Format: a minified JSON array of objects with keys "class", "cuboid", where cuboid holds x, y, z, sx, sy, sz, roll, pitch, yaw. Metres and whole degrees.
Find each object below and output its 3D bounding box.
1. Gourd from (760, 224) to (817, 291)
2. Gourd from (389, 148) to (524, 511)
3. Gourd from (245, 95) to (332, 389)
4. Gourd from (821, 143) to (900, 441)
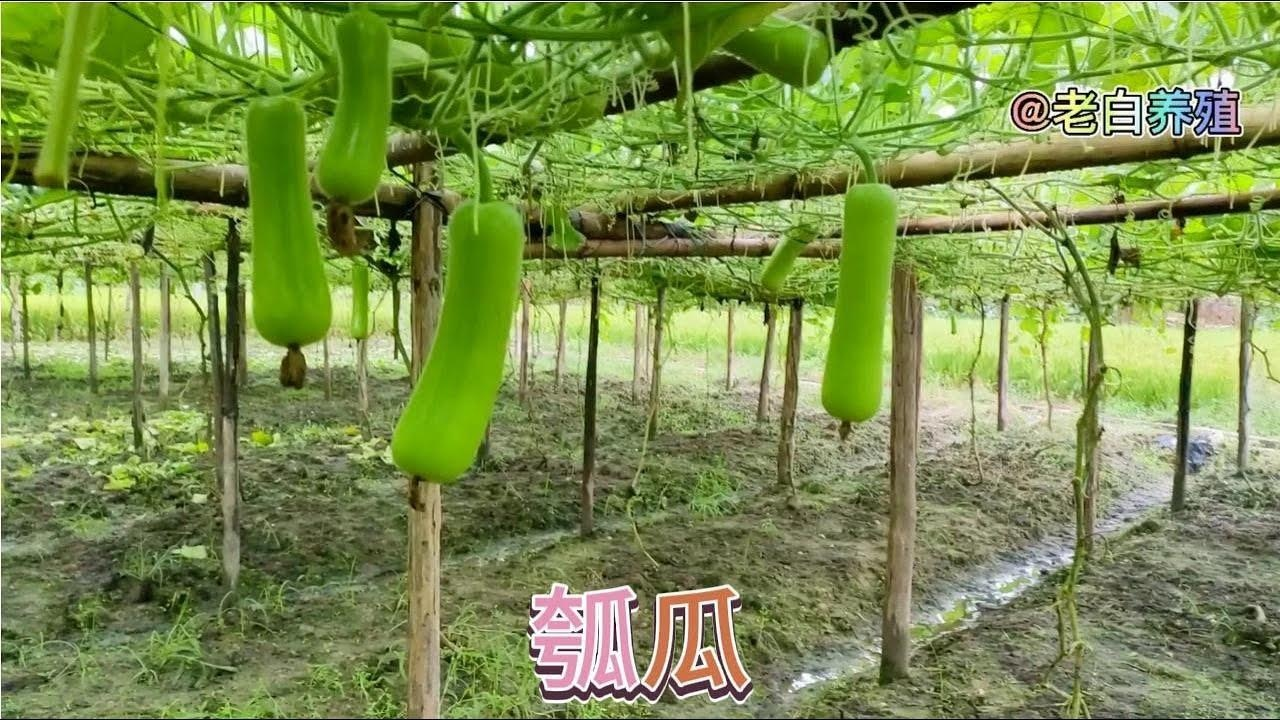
[{"class":"Gourd","cuboid":[0.949,-0.664,6.239,0.335,0.432,0.380,0,2,11]},{"class":"Gourd","cuboid":[-0.974,-0.265,5.415,0.575,1.888,0.460,9,1,32]},{"class":"Gourd","cuboid":[-1.940,-0.623,5.377,0.510,1.531,0.445,-2,13,-15]},{"class":"Gourd","cuboid":[1.249,-0.438,5.513,0.389,1.546,0.166,0,3,10]}]
